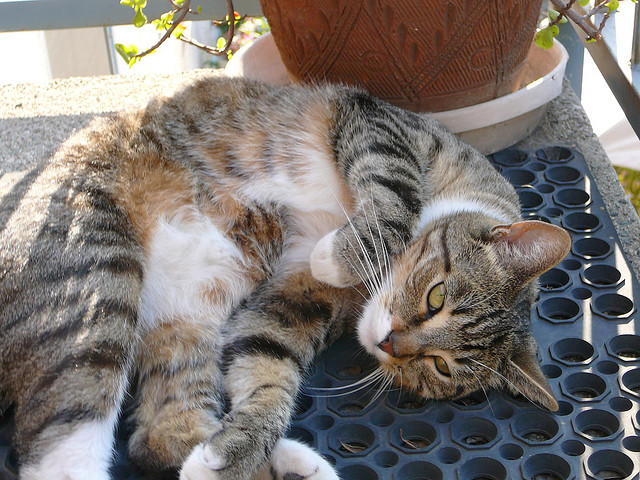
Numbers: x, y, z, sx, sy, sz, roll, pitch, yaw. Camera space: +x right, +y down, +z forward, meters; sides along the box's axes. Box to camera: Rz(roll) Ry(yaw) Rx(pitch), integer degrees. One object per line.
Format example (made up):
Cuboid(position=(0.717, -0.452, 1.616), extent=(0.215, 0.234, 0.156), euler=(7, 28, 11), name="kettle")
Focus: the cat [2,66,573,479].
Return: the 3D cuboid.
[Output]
Cuboid(position=(-0.128, 0.126, 2.068), extent=(1.305, 0.513, 1.106), euler=(32, 58, -2), name="cat")
